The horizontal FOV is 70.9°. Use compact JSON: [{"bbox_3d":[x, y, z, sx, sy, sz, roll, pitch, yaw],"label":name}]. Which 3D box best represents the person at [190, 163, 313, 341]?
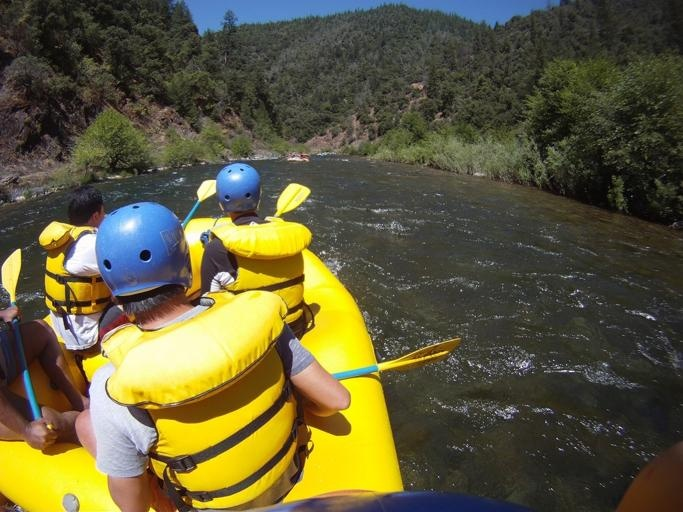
[{"bbox_3d":[-0.718,-0.129,3.842,0.922,0.840,1.272,-4,20,-12],"label":"person"}]

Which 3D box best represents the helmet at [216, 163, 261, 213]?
[{"bbox_3d":[-0.853,-0.560,3.941,0.363,0.437,0.521,-7,30,-7],"label":"helmet"}]

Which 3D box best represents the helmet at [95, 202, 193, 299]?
[{"bbox_3d":[-1.145,-0.060,2.720,0.414,0.568,0.581,-4,24,-14],"label":"helmet"}]
